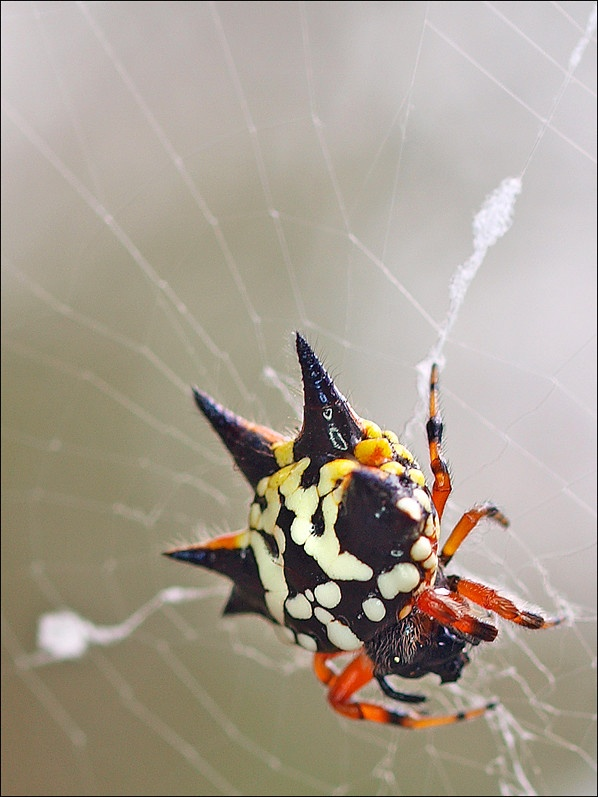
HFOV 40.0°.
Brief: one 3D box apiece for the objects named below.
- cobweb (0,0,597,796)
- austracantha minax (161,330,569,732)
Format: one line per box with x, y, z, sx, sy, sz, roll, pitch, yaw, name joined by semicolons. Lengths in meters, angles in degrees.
-0.036;-0.044;1.385;1.057;1.148;0.027;-20;-4;24;cobweb
0.121;0.188;1.210;0.468;0.196;0.556;-38;-76;25;austracantha minax
